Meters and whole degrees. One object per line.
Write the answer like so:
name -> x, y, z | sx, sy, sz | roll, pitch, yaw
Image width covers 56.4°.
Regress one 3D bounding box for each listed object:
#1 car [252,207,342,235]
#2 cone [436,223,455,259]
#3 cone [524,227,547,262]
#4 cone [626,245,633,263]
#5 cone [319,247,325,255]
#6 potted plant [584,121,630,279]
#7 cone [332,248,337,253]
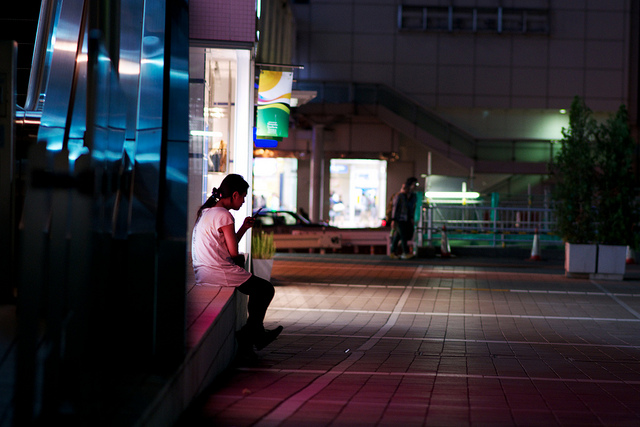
car -> -0.873, 0.515, 20.330 | 2.550, 0.928, 1.225 | -3, 1, 15
cone -> 3.561, 0.817, 17.134 | 0.515, 0.850, 1.029 | 2, 1, 11
cone -> 6.099, 0.919, 16.873 | 0.757, 1.114, 0.782 | -2, -3, 43
cone -> 8.665, 1.185, 16.884 | 0.152, 0.502, 0.685 | 2, 1, 28
cone -> 0.060, 1.162, 18.118 | 0.120, 0.244, 0.127 | 1, 2, 3
potted plant -> 5.991, -0.247, 12.532 | 0.824, 3.329, 0.703 | 2, 1, 30
cone -> 0.421, 1.160, 18.402 | 0.093, 0.168, 0.106 | 1, -4, -5
